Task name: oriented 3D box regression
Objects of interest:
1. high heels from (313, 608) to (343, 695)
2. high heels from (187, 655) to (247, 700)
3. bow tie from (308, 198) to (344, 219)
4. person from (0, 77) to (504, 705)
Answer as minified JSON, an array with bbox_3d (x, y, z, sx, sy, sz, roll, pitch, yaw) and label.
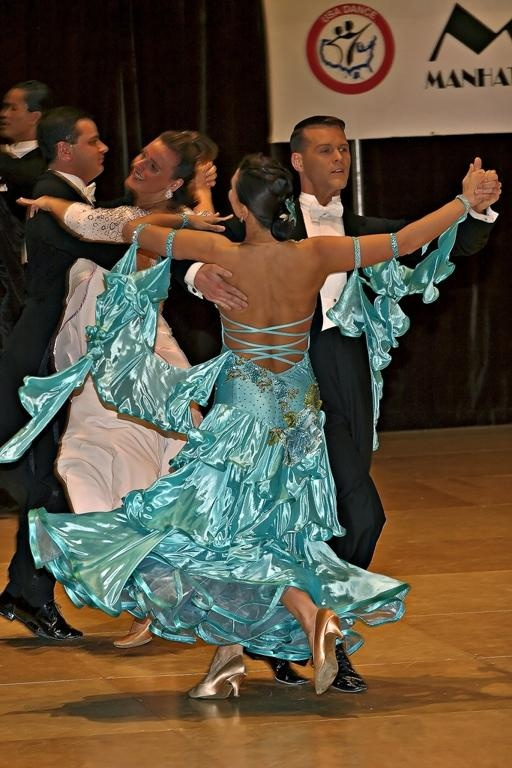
[{"bbox_3d":[0.153,0.590,1.647,0.094,0.185,0.062,3,-6,2],"label":"high heels"},{"bbox_3d":[-0.098,0.802,1.988,0.199,0.147,0.084,5,-5,-7],"label":"high heels"},{"bbox_3d":[0.222,-0.567,2.382,0.143,0.067,0.065,-4,16,-26],"label":"bow tie"},{"bbox_3d":[-0.130,0.096,1.905,1.198,1.366,0.588,-1,7,14],"label":"person"}]
